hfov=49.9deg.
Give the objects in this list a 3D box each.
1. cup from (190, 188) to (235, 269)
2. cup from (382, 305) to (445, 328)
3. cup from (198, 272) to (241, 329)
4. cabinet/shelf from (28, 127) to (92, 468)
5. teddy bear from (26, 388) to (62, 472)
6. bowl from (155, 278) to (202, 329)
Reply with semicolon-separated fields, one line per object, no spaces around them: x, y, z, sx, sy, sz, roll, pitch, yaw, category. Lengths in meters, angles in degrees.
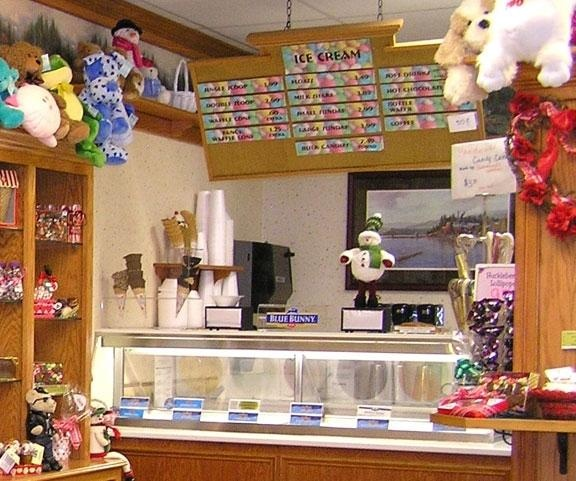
-0.513;-0.090;4.341;0.251;0.542;0.215;0;-6;-9;cup
0.729;0.426;3.518;0.288;0.119;0.138;-2;-6;14;cup
-0.446;0.384;3.917;0.284;0.382;0.154;6;-8;-41;cup
-1.133;0.238;2.982;0.353;1.409;0.478;1;-6;-13;cabinet/shelf
-1.120;0.868;2.839;0.129;0.376;0.168;-5;-7;40;teddy bear
-0.723;0.415;3.913;0.327;0.400;0.203;0;0;-18;bowl
